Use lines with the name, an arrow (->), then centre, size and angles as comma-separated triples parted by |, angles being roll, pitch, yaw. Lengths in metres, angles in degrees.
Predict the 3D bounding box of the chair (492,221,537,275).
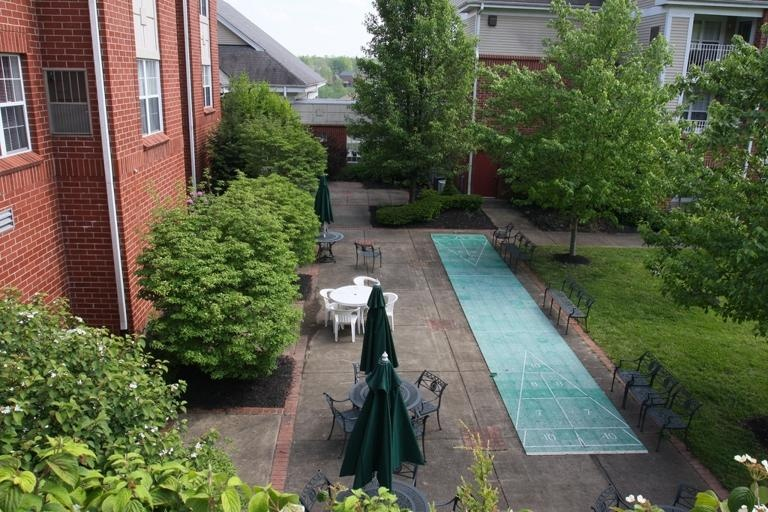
chair -> 5.461, -0.233, 22.797 | 0.754, 0.871, 2.377 | 0, 17, -5

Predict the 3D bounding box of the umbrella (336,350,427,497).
umbrella -> -0.155, 2.890, 10.155 | 1.858, 2.146, 1.470 | 3, 16, -5

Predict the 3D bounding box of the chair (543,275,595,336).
chair -> 6.057, 1.696, 17.792 | 0.676, 0.710, 1.735 | -1, 13, -3

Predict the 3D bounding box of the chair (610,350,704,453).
chair -> 6.652, 3.646, 13.284 | 0.747, 0.831, 1.884 | -3, 18, -3
